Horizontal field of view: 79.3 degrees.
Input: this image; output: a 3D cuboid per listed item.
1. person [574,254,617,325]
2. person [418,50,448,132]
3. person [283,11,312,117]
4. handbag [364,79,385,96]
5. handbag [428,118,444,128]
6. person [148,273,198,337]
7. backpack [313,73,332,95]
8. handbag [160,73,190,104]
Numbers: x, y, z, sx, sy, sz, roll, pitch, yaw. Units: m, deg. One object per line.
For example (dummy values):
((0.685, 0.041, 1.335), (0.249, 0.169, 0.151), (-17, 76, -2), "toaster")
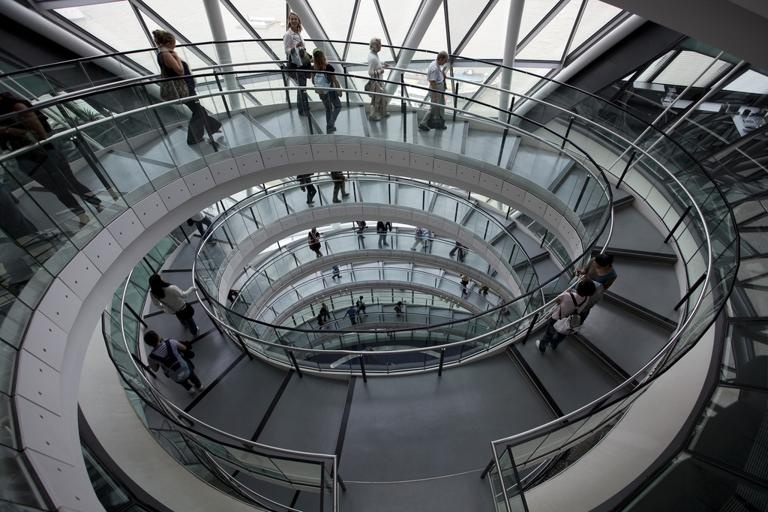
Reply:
((4.758, 0.792, 10.444), (0.678, 1.737, 1.113), (5, 6, 23), "person")
((1.576, -5.006, 14.374), (0.774, 2.023, 1.474), (3, 6, 5), "person")
((-2.520, -5.571, 13.488), (0.748, 2.638, 1.357), (1, 6, -9), "person")
((-0.279, -5.298, 14.467), (0.710, 0.457, 0.801), (-1, 9, 4), "handbag")
((1.668, -4.328, 14.936), (0.473, 0.236, 0.454), (-8, -10, 2), "handbag")
((-5.917, 1.437, 13.157), (1.075, 2.028, 1.570), (1, 6, -17), "person")
((-1.879, -5.214, 13.956), (0.563, 0.733, 0.412), (-5, 28, 9), "backpack")
((-5.566, -4.421, 12.268), (0.697, 0.474, 0.683), (-25, -20, -20), "handbag")
